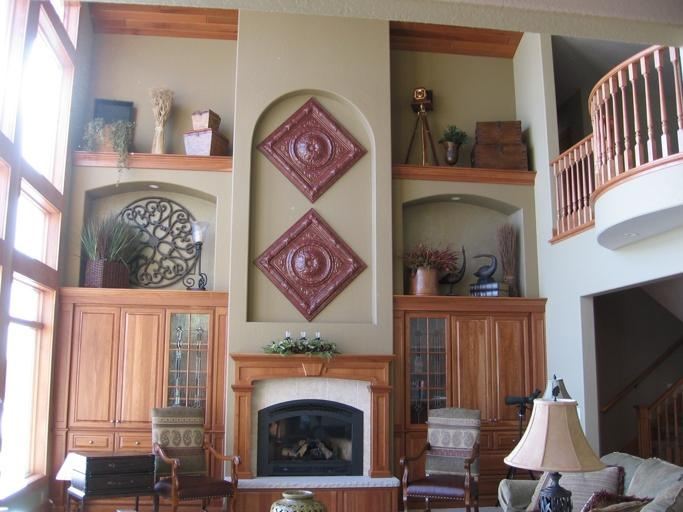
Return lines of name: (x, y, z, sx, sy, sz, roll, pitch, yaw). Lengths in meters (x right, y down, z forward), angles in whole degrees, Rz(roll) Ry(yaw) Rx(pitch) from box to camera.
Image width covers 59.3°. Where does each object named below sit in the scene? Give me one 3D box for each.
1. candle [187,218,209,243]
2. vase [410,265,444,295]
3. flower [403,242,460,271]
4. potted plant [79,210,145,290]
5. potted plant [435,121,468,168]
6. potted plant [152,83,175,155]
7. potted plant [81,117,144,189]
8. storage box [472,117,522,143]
candle: (-1.970, -0.335, 8.322, 0.288, 0.326, 0.287, -2, -15, 6)
vase: (1.154, 0.346, 8.303, 0.351, 0.313, 0.360, 2, -12, -6)
flower: (1.188, 0.053, 8.489, 0.494, 0.235, 0.505, 4, -5, -39)
potted plant: (-3.146, -0.073, 8.122, 0.570, 1.094, 0.646, -3, -12, 15)
potted plant: (1.691, -1.663, 8.962, 0.464, 0.694, 0.409, 2, -11, -11)
potted plant: (-2.541, -1.869, 8.440, 0.291, 1.083, 0.428, 3, -11, -16)
potted plant: (-3.203, -1.372, 8.336, 0.668, 0.887, 0.390, 6, -12, -6)
storage box: (2.287, -1.800, 8.640, 0.498, 0.270, 0.358, 1, 1, 3)
